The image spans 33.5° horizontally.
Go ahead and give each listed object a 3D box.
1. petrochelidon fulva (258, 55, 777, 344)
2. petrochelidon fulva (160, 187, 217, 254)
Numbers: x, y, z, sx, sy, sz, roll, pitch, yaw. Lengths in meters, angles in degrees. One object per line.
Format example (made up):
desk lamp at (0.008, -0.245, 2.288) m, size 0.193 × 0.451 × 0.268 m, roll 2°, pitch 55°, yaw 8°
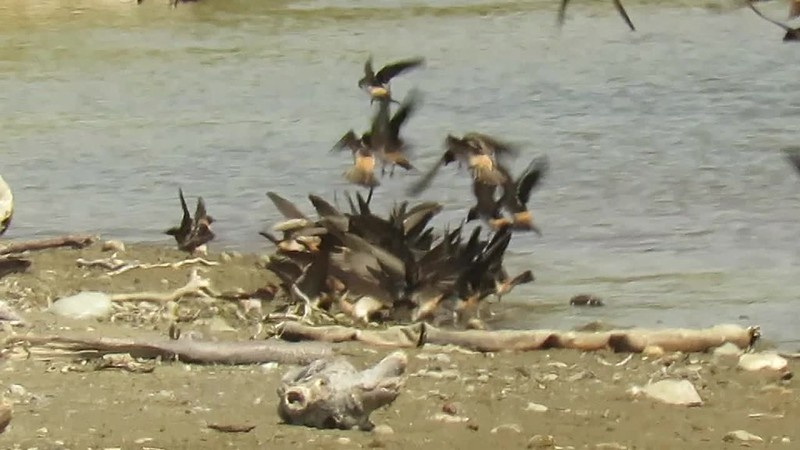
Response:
petrochelidon fulva at (0.184, -0.263, 7.413) m, size 1.466 × 1.032 × 1.220 m, roll 21°, pitch 33°, yaw 36°
petrochelidon fulva at (-1.171, -0.025, 7.594) m, size 0.257 × 0.352 × 0.250 m, roll -19°, pitch 34°, yaw -31°
